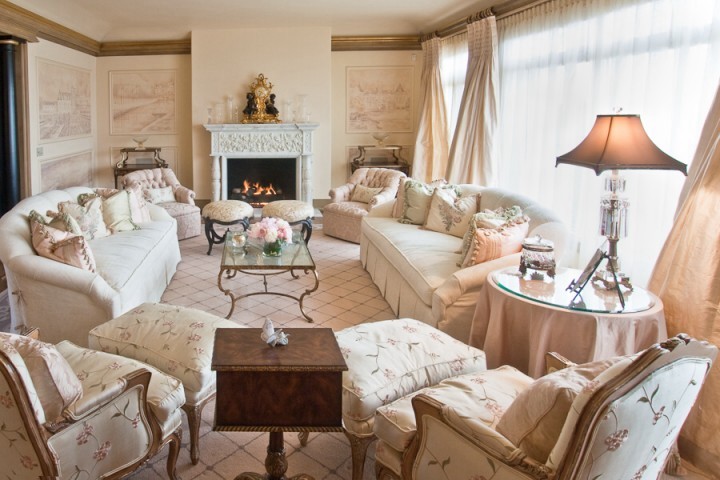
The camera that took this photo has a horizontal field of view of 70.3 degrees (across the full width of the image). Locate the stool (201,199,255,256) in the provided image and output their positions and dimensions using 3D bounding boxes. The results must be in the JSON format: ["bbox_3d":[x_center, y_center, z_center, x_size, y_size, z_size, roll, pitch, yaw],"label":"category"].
[{"bbox_3d":[-1.689,-0.216,6.648,0.772,0.625,0.679,5,21,1],"label":"stool"}]

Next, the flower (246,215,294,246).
[{"bbox_3d":[-0.849,-0.076,4.771,0.377,0.267,0.306,11,17,36],"label":"flower"}]

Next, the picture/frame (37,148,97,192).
[{"bbox_3d":[-4.455,-1.022,7.838,1.057,0.566,0.035,-2,1,23],"label":"picture/frame"}]

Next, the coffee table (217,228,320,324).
[{"bbox_3d":[-0.936,0.307,4.996,0.751,0.490,1.108,-1,9,-11],"label":"coffee table"}]

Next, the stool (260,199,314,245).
[{"bbox_3d":[-0.952,-0.276,6.673,0.683,0.560,0.612,0,7,-4],"label":"stool"}]

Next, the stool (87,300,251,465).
[{"bbox_3d":[-1.141,0.814,3.530,0.958,0.785,0.912,8,13,21],"label":"stool"}]

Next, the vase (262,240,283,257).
[{"bbox_3d":[-0.795,0.075,4.630,0.154,0.134,0.149,2,-1,-21],"label":"vase"}]

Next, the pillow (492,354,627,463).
[{"bbox_3d":[0.792,0.733,2.214,0.154,0.518,0.419,29,48,-13],"label":"pillow"}]

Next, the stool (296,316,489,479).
[{"bbox_3d":[0.177,0.728,3.083,0.935,0.654,0.915,-5,7,-26],"label":"stool"}]

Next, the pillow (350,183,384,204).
[{"bbox_3d":[0.070,-0.656,7.275,0.385,0.343,0.113,14,-12,35],"label":"pillow"}]

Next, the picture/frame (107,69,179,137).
[{"bbox_3d":[-3.634,-2.350,8.566,1.182,1.036,0.084,0,4,-2],"label":"picture/frame"}]

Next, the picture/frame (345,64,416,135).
[{"bbox_3d":[0.333,-2.414,8.593,1.286,1.145,0.083,0,15,2],"label":"picture/frame"}]

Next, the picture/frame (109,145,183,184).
[{"bbox_3d":[-3.595,-1.097,8.613,1.015,0.842,0.451,-1,7,12],"label":"picture/frame"}]
